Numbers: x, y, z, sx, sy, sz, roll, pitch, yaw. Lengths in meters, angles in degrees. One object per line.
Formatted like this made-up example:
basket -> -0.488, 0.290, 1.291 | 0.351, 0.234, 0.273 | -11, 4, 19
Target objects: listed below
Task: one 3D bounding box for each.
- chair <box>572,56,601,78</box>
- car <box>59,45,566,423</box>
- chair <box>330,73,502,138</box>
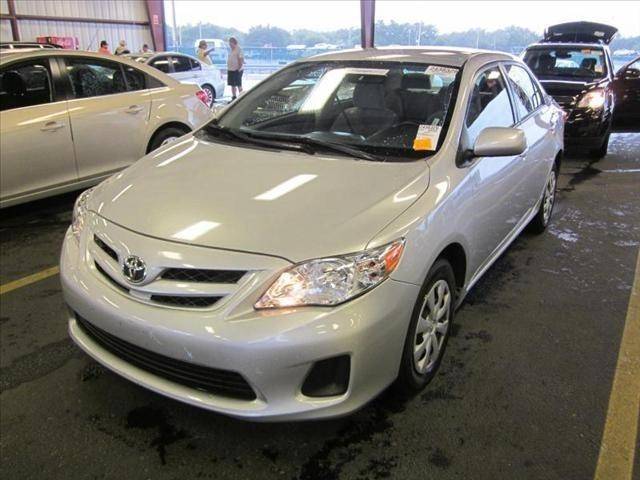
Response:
chair -> 4.680, -2.972, 7.088 | 0.377, 0.295, 0.647 | 13, 28, 30
car -> -0.001, -0.214, 2.581 | 1.774, 1.798, 2.805 | 20, 31, 40
chair -> 0.620, -0.967, 2.957 | 0.601, 0.429, 0.934 | 10, 21, 35
